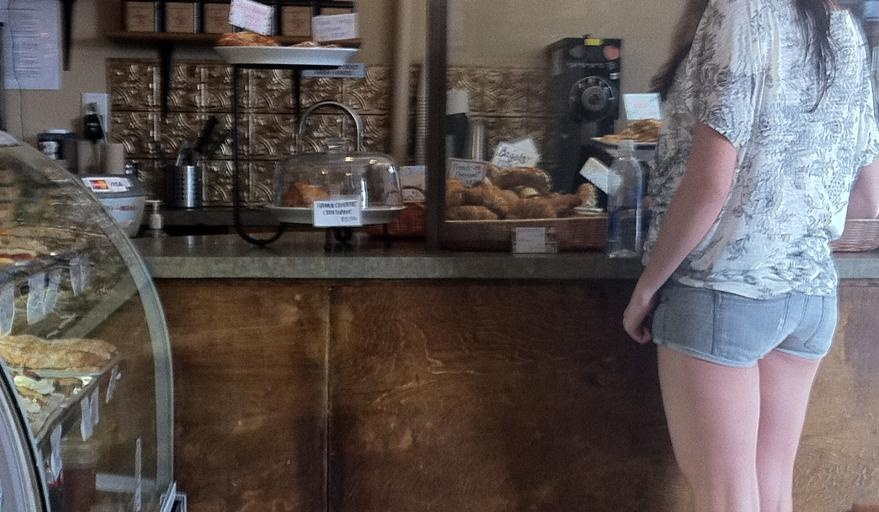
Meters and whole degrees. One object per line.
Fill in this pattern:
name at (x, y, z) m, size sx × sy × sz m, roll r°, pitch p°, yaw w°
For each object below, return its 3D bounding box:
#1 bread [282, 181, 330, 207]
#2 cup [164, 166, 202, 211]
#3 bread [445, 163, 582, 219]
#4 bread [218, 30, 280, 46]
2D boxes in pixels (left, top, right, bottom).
bread at (-0.483, -0.222, 2.953) m, size 0.164 × 0.082 × 0.060 m, roll 4°, pitch 16°, yaw 20°
cup at (-1.538, -0.414, 4.881) m, size 0.244 × 0.235 × 0.227 m, roll 1°, pitch 7°, yaw 0°
bread at (0.246, -0.222, 2.958) m, size 0.387 × 0.109 × 0.226 m, roll 1°, pitch 0°, yaw 1°
bread at (-0.704, -0.803, 3.040) m, size 0.222 × 0.053 × 0.161 m, roll -2°, pitch 14°, yaw -7°
